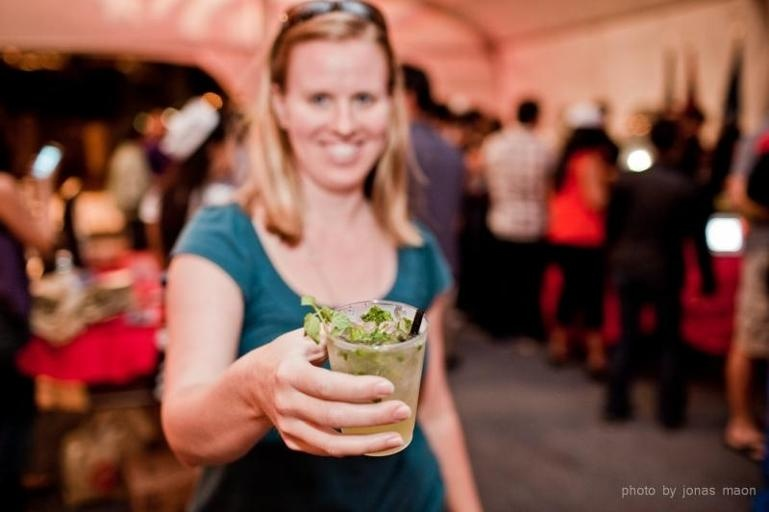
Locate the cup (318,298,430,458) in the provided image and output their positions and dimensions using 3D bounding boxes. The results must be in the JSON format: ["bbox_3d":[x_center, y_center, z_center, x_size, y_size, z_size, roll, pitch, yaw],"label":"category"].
[{"bbox_3d":[-0.037,0.459,2.572,0.368,0.525,0.284,4,15,13],"label":"cup"}]
